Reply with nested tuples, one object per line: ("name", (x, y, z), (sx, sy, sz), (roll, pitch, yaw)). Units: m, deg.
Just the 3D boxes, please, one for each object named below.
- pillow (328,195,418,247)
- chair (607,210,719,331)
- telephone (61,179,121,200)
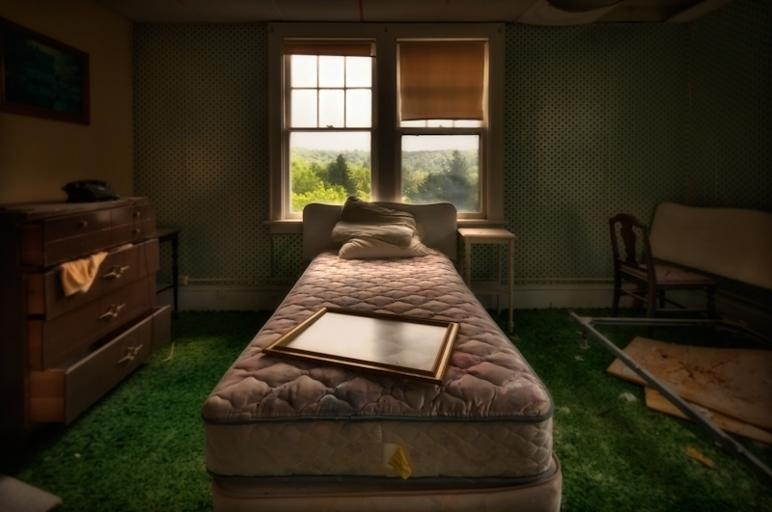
("pillow", (-0.044, -0.337, 5.452), (0.833, 0.229, 0.909), (-5, -27, 31))
("chair", (2.485, 0.024, 5.406), (0.942, 1.511, 1.004), (-2, 7, 0))
("telephone", (-2.268, -0.490, 4.226), (0.270, 0.095, 0.243), (12, 16, 30))
